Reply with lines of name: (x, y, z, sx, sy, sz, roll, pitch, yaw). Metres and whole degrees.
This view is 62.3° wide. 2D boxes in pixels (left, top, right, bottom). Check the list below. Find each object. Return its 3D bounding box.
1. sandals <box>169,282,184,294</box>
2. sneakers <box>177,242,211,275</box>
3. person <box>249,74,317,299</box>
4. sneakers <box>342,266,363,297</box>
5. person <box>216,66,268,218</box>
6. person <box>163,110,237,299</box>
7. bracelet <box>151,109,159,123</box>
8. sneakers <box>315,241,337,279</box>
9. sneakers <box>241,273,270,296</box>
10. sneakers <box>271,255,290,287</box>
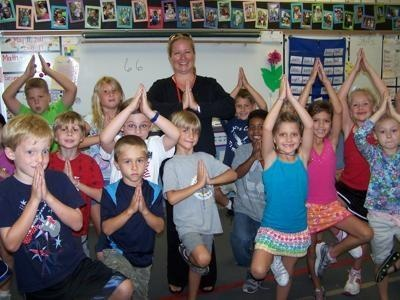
sandals: (-0.218, 1.214, 2.927, 0.083, 0.107, 0.107, 4, 51, 11)
sneakers: (-0.068, 0.859, 2.655, 0.145, 0.284, 0.373, -9, 10, -25)
person: (0.650, 0.350, 2.613, 0.701, 1.830, 0.348, -13, 12, -39)
sneakers: (1.333, 1.151, 2.894, 0.102, 0.118, 0.264, 1, 40, 33)
person: (0.420, -0.046, 3.939, 0.605, 1.812, 0.472, 0, 25, -4)
person: (-0.033, 0.481, 2.713, 0.474, 1.606, 0.511, 2, 12, 37)
bracelet: (-0.346, -0.264, 2.546, 0.031, 0.078, 0.069, 27, 10, -1)
sneakers: (1.083, 0.930, 2.855, 0.191, 0.332, 0.114, 4, -3, 18)
sneakers: (0.528, 1.212, 3.004, 0.124, 0.167, 0.374, -5, -13, 42)
sneakers: (0.625, 0.951, 2.637, 0.092, 0.271, 0.106, -26, -17, 30)
